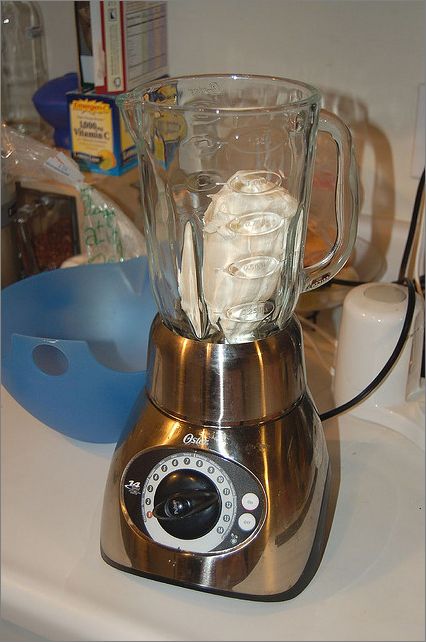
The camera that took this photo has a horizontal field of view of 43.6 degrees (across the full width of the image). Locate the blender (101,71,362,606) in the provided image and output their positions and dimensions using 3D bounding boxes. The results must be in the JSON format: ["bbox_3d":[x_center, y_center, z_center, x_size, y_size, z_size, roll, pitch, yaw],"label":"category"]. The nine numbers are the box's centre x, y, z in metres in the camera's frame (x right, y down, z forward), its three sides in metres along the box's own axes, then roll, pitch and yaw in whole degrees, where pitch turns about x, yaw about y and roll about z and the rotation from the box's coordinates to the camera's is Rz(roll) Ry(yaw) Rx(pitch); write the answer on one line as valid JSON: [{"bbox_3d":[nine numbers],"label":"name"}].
[{"bbox_3d":[0.018,0.003,0.409,0.172,0.349,0.244,7,25,17],"label":"blender"}]
